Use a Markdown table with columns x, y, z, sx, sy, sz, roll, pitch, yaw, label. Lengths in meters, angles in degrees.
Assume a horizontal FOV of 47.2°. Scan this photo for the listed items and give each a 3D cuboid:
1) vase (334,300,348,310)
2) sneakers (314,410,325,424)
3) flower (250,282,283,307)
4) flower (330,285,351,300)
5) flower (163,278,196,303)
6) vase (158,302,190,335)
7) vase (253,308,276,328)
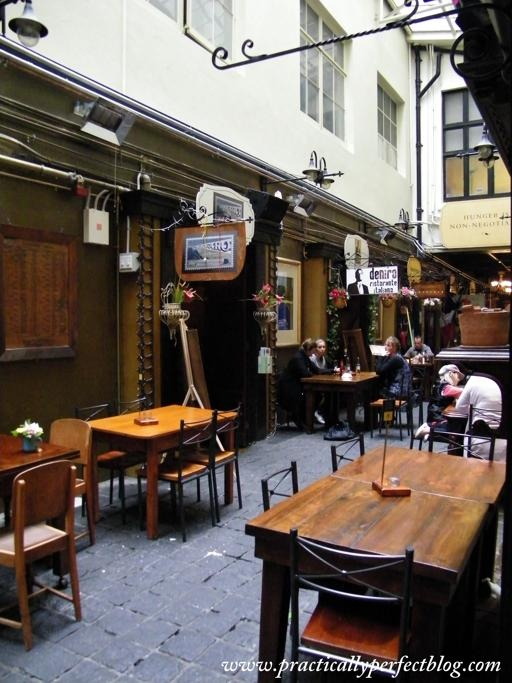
| x | y | z | sx | sy | sz | roll | pitch | yaw | label |
| --- | --- | --- | --- | --- | --- | --- | --- | --- | --- |
| 1.483 | -0.640 | 10.318 | 0.184 | 0.198 | 0.194 | 0 | -4 | -6 | vase |
| 1.006 | 1.233 | 9.423 | 0.140 | 0.055 | 0.217 | 18 | 20 | -34 | sneakers |
| 0.111 | -0.595 | 7.671 | 0.338 | 0.350 | 0.649 | 0 | 2 | -1 | flower |
| 1.442 | -0.805 | 10.234 | 0.233 | 0.275 | 0.258 | -5 | -1 | 16 | flower |
| -0.836 | -0.497 | 6.071 | 0.297 | 0.327 | 0.286 | 5 | 2 | 35 | flower |
| -0.827 | -0.230 | 5.907 | 0.276 | 0.433 | 0.290 | 1 | 2 | -18 | vase |
| 0.113 | -0.319 | 7.680 | 0.233 | 0.358 | 0.357 | 0 | 4 | 2 | vase |
